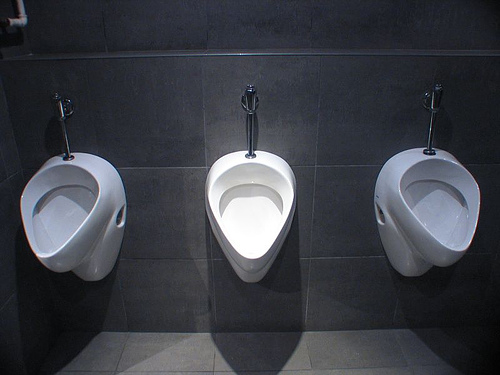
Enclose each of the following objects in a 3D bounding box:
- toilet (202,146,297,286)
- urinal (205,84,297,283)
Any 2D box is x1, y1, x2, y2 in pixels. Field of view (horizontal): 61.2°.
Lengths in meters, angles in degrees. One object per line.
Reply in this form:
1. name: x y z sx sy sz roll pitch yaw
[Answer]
1. toilet: 0.011 0.097 2.337 0.509 0.760 0.449 0 -10 1
2. urinal: 0.013 0.107 2.243 0.493 0.712 0.986 -2 -40 -1
